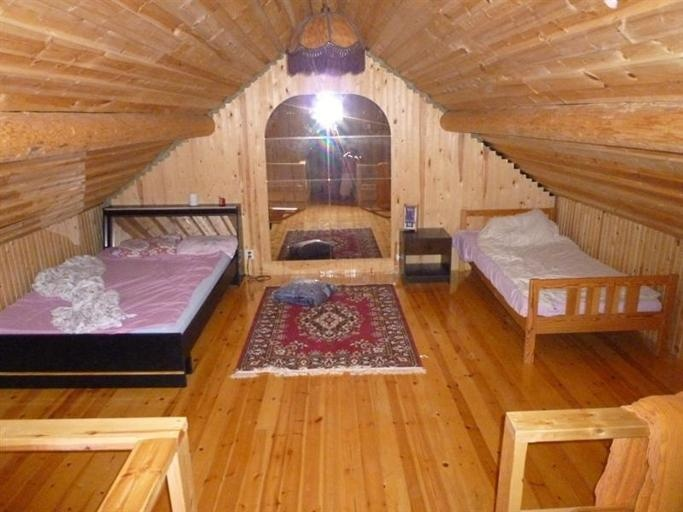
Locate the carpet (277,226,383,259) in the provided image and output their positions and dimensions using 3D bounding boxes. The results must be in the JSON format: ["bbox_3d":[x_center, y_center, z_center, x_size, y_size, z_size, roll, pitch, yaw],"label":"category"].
[{"bbox_3d":[-0.177,-0.189,6.358,1.063,0.326,0.007,0,-8,-1],"label":"carpet"}]

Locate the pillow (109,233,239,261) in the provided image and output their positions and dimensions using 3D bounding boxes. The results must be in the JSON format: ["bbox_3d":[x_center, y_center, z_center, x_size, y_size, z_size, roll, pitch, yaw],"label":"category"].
[{"bbox_3d":[-1.823,-0.102,5.621,0.973,0.170,0.464,0,15,-4],"label":"pillow"}]

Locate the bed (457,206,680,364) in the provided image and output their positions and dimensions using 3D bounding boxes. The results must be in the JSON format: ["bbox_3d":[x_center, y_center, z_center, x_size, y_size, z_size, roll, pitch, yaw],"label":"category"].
[{"bbox_3d":[2.148,0.376,4.903,1.325,0.764,1.525,0,13,-1],"label":"bed"}]
